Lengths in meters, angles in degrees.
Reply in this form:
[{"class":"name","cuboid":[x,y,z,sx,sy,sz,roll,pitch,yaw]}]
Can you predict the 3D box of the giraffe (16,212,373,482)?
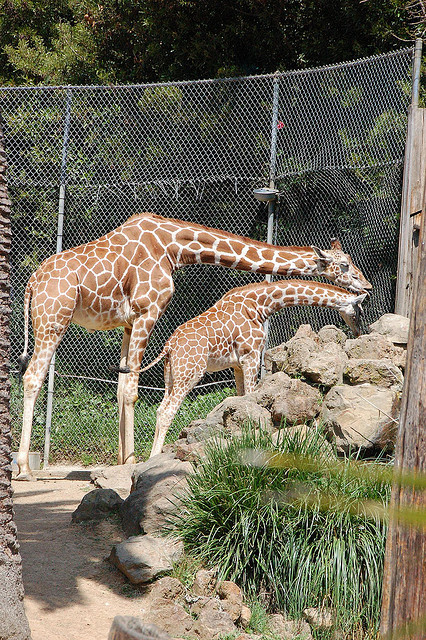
[{"class":"giraffe","cuboid":[-0.167,0.213,7.633,3.156,2.175,0.717,0,1,-10]}]
